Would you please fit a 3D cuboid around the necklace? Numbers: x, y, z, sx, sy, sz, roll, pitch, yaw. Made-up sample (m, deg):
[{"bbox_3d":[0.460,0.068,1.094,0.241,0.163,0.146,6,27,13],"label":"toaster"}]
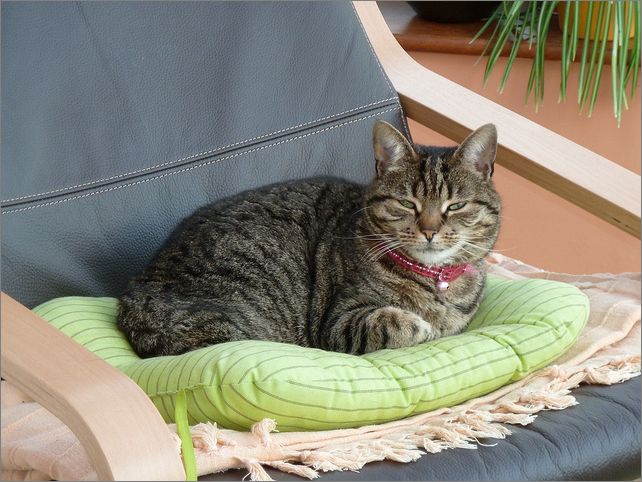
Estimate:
[{"bbox_3d":[0.202,0.043,1.330,0.162,0.043,0.119,13,1,-2],"label":"necklace"}]
